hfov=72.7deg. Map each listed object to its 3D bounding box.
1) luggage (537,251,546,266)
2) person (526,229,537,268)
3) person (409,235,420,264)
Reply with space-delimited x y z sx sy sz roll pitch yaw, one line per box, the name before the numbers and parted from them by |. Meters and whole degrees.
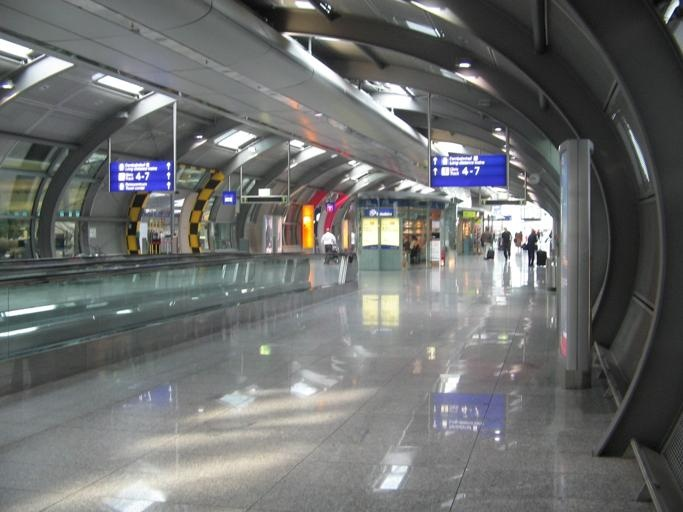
luggage | 11.413 0.122 26.414 0.440 0.858 1.113 0 1 25
person | 11.639 -0.485 28.217 0.424 2.141 1.535 0 1 19
person | 4.834 -0.432 30.888 0.621 1.822 0.904 0 1 12
